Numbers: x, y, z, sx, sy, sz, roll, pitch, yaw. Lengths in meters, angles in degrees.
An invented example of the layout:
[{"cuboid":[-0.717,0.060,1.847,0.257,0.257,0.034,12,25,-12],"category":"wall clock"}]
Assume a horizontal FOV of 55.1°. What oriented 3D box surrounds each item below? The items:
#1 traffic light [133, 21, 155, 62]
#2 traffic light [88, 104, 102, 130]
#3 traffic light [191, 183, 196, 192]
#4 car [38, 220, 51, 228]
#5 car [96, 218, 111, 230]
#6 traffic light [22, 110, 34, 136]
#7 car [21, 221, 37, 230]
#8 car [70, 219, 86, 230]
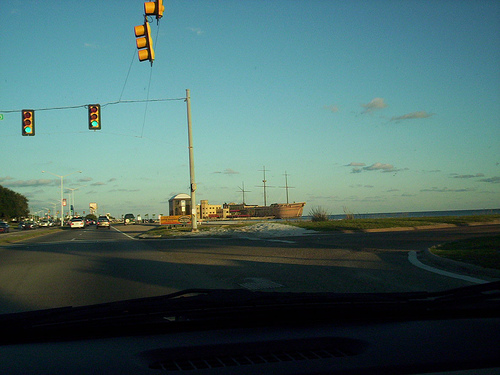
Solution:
[{"cuboid":[-2.977,-4.016,13.524,0.481,1.053,1.426,-2,0,-12],"category":"traffic light"},{"cuboid":[-6.746,-3.013,20.774,0.457,0.950,0.232,-2,-1,-17],"category":"traffic light"},{"cuboid":[-3.849,0.042,32.640,0.185,0.551,0.836,-2,0,-17],"category":"traffic light"},{"cuboid":[-35.475,6.300,82.509,1.158,0.747,1.836,3,-10,-31],"category":"car"},{"cuboid":[-17.754,4.361,57.696,1.241,0.815,2.540,1,-8,-19],"category":"car"},{"cuboid":[-9.468,-2.744,20.425,0.449,0.905,0.570,-2,0,-24],"category":"traffic light"},{"cuboid":[-33.707,5.801,72.944,2.022,0.868,2.736,0,-2,-30],"category":"car"},{"cuboid":[-20.271,4.403,56.187,1.685,1.006,3.430,0,3,-18],"category":"car"}]
